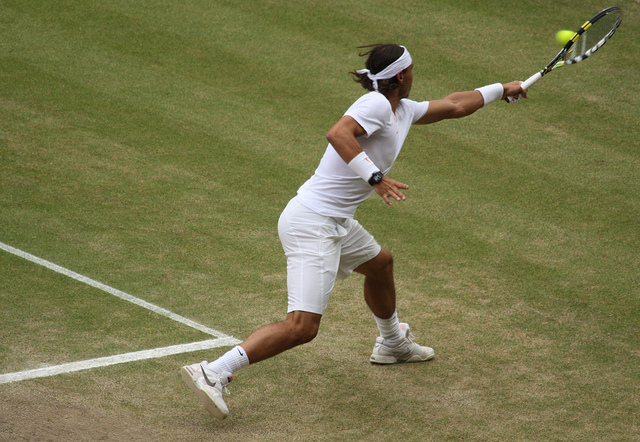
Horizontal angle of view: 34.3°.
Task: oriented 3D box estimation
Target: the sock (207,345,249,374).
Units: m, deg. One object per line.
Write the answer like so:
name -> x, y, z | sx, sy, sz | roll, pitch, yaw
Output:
sock -> -0.811, 1.294, 9.640 | 0.452, 0.170, 0.171 | -22, 40, 3
